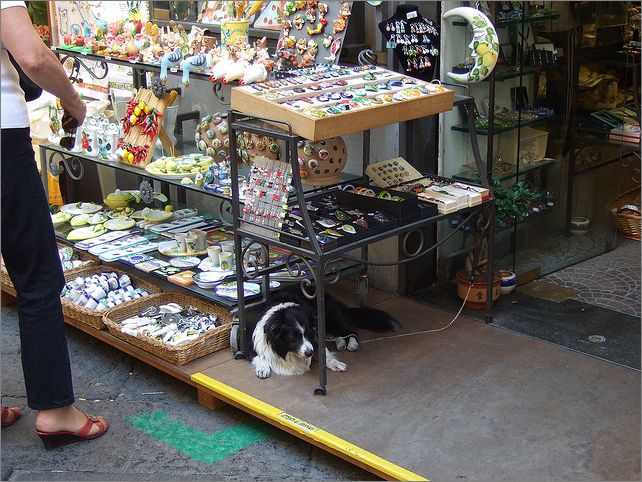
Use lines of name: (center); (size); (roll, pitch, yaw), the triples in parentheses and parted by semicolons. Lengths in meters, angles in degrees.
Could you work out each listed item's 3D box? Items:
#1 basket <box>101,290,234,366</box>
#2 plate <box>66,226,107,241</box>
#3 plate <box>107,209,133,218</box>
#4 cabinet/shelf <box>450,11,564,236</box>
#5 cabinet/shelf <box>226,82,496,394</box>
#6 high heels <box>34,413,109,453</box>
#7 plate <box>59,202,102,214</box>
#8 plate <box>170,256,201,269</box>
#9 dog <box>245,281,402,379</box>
basket: (-0.898, 0.511, 3.109); (0.743, 0.182, 0.480); (13, 27, 36)
plate: (-1.800, -0.065, 3.965); (0.181, 0.034, 0.142); (-21, 22, -21)
plate: (-1.652, -0.229, 4.238); (0.114, 0.029, 0.112); (7, 16, 32)
cabinet/shelf: (1.212, -0.838, 3.449); (0.381, 1.566, 1.102); (15, 31, 41)
cabinet/shelf: (0.232, -0.138, 2.935); (1.410, 1.504, 0.830); (-18, 26, -31)
high heels: (-1.223, 0.933, 2.515); (0.286, 0.119, 0.231); (14, 21, 33)
plate: (-1.993, -0.271, 4.288); (0.184, 0.024, 0.174); (-1, 25, -10)
plate: (-0.927, 0.141, 3.513); (0.117, 0.021, 0.111); (-5, 26, -17)
dog: (-0.003, 0.462, 3.072); (0.650, 0.396, 1.030); (4, 16, 33)
